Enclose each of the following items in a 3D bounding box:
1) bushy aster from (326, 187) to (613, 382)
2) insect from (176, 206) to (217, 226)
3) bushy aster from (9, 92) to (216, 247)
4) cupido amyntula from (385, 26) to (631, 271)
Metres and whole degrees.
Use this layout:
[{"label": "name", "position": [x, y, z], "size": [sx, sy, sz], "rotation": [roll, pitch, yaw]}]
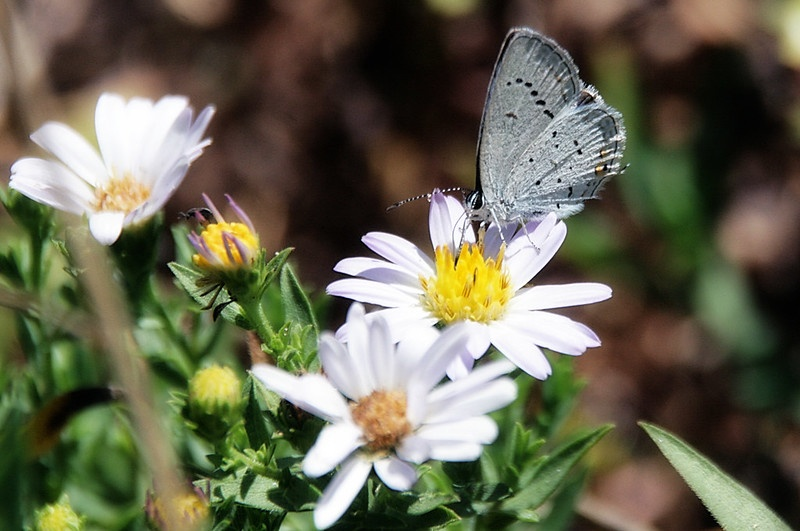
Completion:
[{"label": "bushy aster", "position": [0.293, 0.091, 2.763], "size": [0.694, 0.276, 0.706], "rotation": [-25, 49, -37]}, {"label": "insect", "position": [-0.653, -0.164, 2.644], "size": [0.062, 0.061, 0.175], "rotation": [-10, 17, -33]}, {"label": "bushy aster", "position": [-0.975, -0.329, 2.745], "size": [0.643, 0.481, 0.494], "rotation": [-8, 16, -28]}, {"label": "cupido amyntula", "position": [0.513, -0.505, 3.677], "size": [0.476, 1.309, 1.802], "rotation": [1, 0, 3]}]
